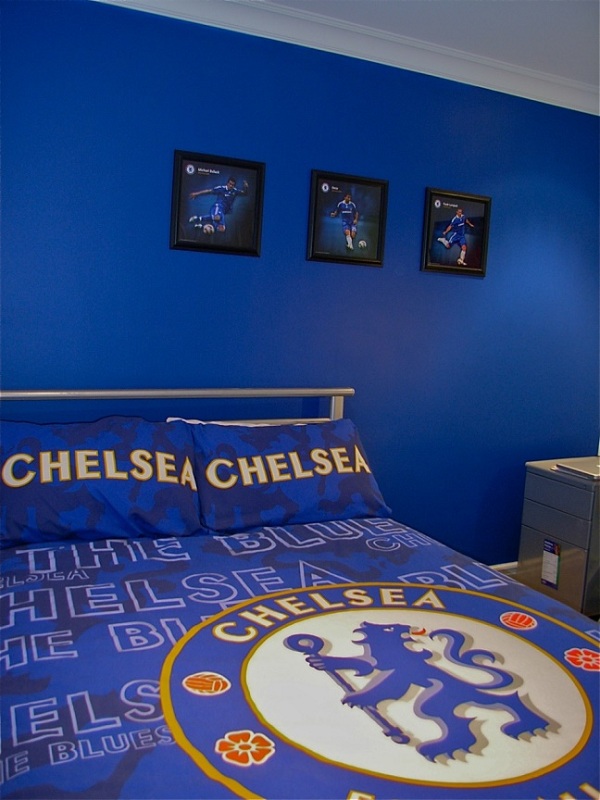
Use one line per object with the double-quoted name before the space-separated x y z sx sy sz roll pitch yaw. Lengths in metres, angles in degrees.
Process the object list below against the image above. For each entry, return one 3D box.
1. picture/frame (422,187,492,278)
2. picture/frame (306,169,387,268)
"picture/frame" 0.684 -0.755 2.737 0.439 0.433 0.044 0 8 -31
"picture/frame" 0.176 -0.743 2.486 0.424 0.400 0.042 2 8 -27
